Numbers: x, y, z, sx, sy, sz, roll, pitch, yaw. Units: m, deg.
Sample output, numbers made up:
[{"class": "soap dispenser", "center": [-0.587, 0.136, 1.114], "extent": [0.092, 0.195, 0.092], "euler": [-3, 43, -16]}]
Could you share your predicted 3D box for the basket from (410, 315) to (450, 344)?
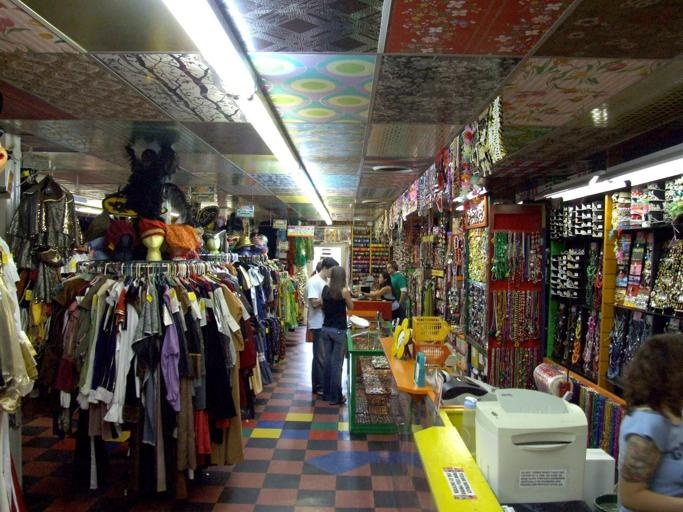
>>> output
[{"class": "basket", "center": [0.895, 0.760, 4.739], "extent": [0.367, 0.233, 0.250], "euler": [0, -1, -1]}]

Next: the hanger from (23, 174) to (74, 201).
[{"class": "hanger", "center": [-2.727, -0.623, 4.214], "extent": [0.343, 0.153, 0.272], "euler": [-2, 1, 36]}]

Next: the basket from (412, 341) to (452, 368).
[{"class": "basket", "center": [0.882, 0.969, 4.512], "extent": [0.340, 0.167, 0.563], "euler": [1, 4, 5]}]

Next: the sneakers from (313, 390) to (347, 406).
[{"class": "sneakers", "center": [-0.169, 2.023, 6.531], "extent": [0.550, 0.222, 0.181], "euler": [4, -5, -26]}]

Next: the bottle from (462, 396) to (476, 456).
[{"class": "bottle", "center": [0.925, 1.225, 3.365], "extent": [0.096, 0.380, 0.100], "euler": [0, 5, 0]}]

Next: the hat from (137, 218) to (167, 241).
[{"class": "hat", "center": [-1.775, -0.260, 4.336], "extent": [0.181, 0.185, 0.229], "euler": [-1, -21, -36]}]

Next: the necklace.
[{"class": "necklace", "center": [2.235, 0.679, 5.900], "extent": [0.734, 2.007, 0.214], "euler": [0, 5, 0]}]
